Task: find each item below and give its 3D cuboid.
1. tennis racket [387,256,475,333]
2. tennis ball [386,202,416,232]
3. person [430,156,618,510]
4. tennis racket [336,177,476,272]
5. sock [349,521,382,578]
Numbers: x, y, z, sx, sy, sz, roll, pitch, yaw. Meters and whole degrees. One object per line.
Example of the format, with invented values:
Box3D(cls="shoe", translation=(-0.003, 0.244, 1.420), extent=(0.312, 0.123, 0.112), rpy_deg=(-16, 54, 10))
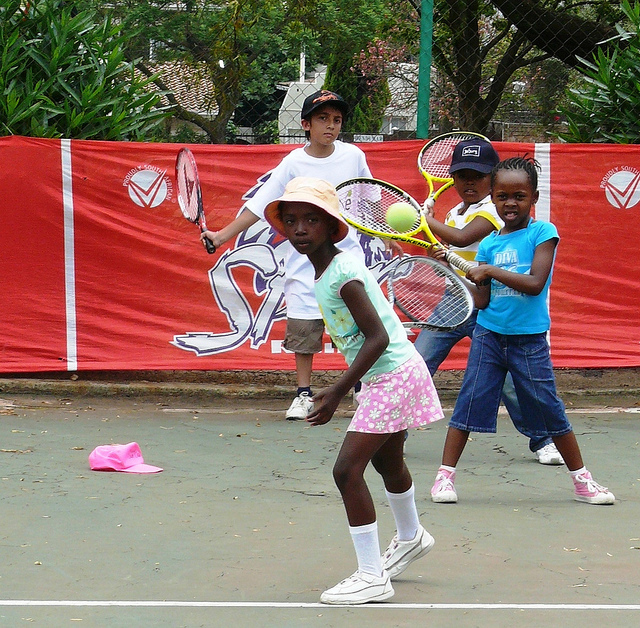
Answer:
Box3D(cls="tennis racket", translation=(0.509, -0.072, 4.230), extent=(0.502, 0.331, 0.088), rpy_deg=(2, -21, -23))
Box3D(cls="tennis ball", translation=(0.392, -0.498, 4.648), extent=(0.197, 0.150, 0.148), rpy_deg=(-2, 28, -6))
Box3D(cls="person", translation=(1.041, 0.050, 4.770), extent=(0.830, 1.722, 1.097), rpy_deg=(2, 11, 6))
Box3D(cls="tennis racket", translation=(0.406, -0.490, 4.642), extent=(0.334, 0.142, 1.024), rpy_deg=(-27, 35, -27))
Box3D(cls="sock", translation=(0.175, 0.874, 3.377), extent=(0.123, 0.211, 0.082), rpy_deg=(0, 12, -7))
